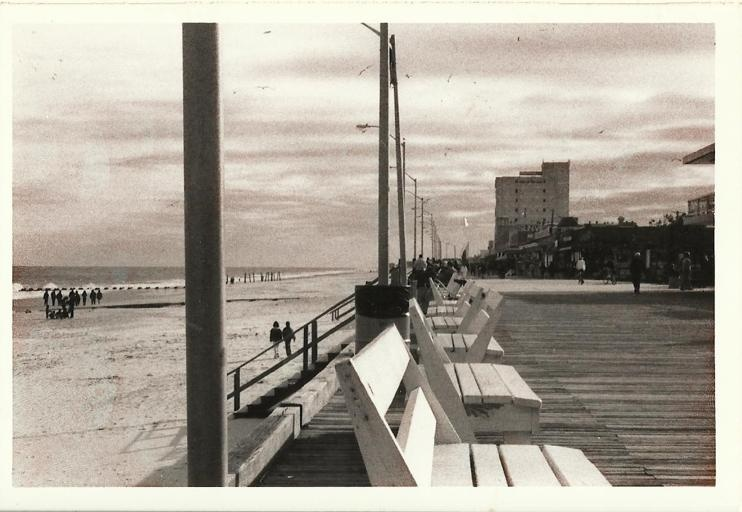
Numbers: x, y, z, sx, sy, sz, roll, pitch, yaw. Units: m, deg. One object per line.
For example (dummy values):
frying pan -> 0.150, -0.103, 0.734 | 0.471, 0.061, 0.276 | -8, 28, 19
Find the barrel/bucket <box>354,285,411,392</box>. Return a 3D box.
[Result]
barrel/bucket -> 0.057, 0.875, 11.784 | 0.871, 1.283, 0.820 | 1, -4, 0

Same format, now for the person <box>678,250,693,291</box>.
person -> 11.992, 0.602, 33.480 | 0.366, 1.515, 2.080 | -3, 2, 19

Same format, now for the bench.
bench -> 0.886, 1.251, 8.005 | 1.789, 1.418, 2.717 | -3, 2, 12
